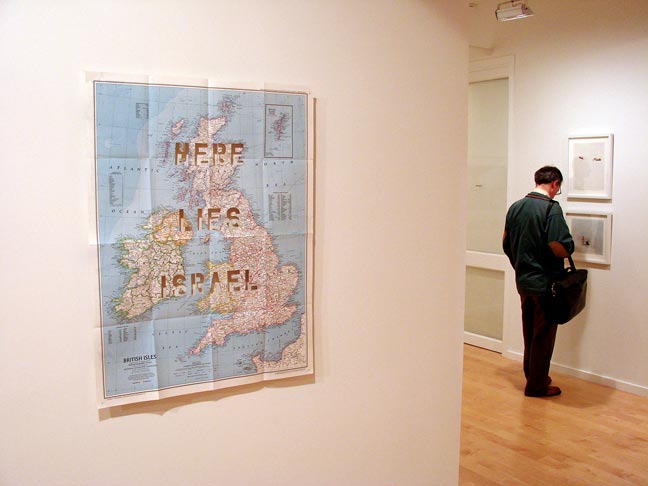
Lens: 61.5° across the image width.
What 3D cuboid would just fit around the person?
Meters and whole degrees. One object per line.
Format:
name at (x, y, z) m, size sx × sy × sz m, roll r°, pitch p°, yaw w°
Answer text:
person at (1.678, 0.306, 4.270) m, size 0.399 × 1.773 × 0.549 m, roll -1°, pitch 10°, yaw 2°

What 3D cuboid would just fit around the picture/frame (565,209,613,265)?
picture/frame at (2.126, -0.043, 4.365) m, size 0.030 × 0.445 × 0.413 m, roll -6°, pitch 8°, yaw -33°

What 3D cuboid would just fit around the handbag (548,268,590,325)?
handbag at (1.835, 0.387, 4.118) m, size 0.166 × 0.353 × 0.406 m, roll 4°, pitch 14°, yaw 36°
